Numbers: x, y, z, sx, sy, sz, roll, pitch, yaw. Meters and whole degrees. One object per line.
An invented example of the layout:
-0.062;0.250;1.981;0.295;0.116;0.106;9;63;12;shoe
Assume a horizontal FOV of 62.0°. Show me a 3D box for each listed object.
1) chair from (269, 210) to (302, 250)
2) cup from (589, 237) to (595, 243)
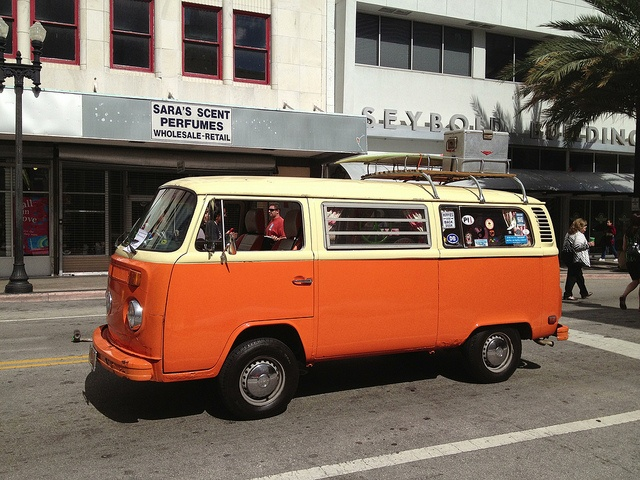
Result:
-0.351;-0.107;6.495;0.436;0.558;0.373;-3;5;-31;chair
13.853;0.007;27.121;0.308;0.337;0.167;-2;-3;-1;cup
